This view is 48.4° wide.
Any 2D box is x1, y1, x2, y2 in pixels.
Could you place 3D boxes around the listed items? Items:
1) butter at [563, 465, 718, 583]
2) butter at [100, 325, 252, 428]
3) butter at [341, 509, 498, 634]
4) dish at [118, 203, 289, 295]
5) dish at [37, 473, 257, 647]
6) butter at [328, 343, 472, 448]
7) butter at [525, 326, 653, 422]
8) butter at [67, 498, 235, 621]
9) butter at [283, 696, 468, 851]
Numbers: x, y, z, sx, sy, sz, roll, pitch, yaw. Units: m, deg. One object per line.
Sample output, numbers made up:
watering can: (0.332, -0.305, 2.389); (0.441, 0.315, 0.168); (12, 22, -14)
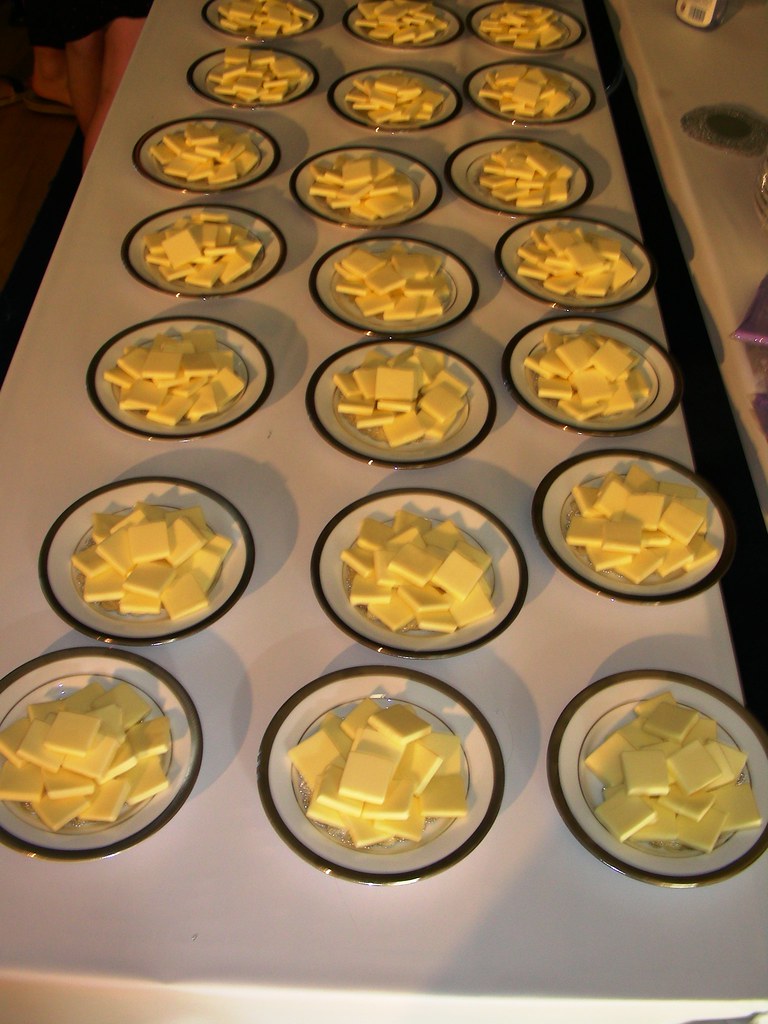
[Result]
butter: (0.258, 0.015, 0.858); (0.118, 0.029, 0.126); (10, 51, 10)
butter: (-0.254, -0.169, 1.037); (0.167, 0.059, 0.168); (-14, 38, -16)
butter: (0.033, 0.056, 0.825); (0.149, 0.051, 0.130); (2, 36, 5)
dish: (-0.256, -0.373, 1.222); (0.230, 0.068, 0.204); (-6, 36, -6)
dish: (-0.228, 0.041, 0.833); (0.185, 0.185, 0.047); (-8, 28, -20)
butter: (0.027, -0.132, 0.993); (0.133, 0.031, 0.125); (-10, 57, -12)
butter: (0.241, -0.151, 1.044); (0.129, 0.036, 0.119); (22, 57, -4)
butter: (-0.228, 0.042, 0.829); (0.139, 0.058, 0.123); (5, 37, 10)
butter: (-0.002, 0.207, 0.678); (0.145, 0.049, 0.112); (14, 39, 21)
